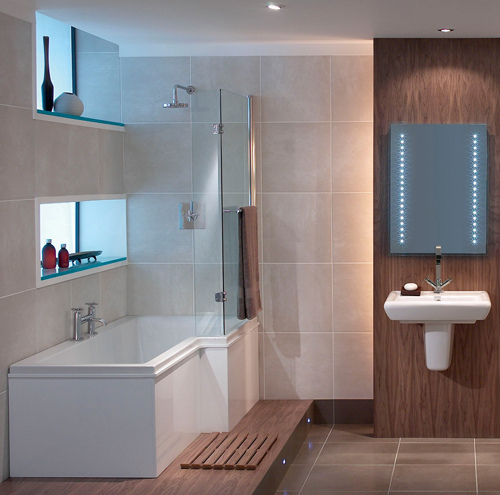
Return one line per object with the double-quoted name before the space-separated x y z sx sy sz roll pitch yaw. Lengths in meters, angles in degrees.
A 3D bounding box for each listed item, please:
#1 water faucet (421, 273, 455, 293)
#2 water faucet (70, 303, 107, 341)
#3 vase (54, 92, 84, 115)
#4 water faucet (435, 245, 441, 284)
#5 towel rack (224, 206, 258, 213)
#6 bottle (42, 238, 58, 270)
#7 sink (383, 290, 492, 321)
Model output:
"water faucet" 1.281 0.249 3.297 0.221 0.171 0.096 0 0 -6
"water faucet" -1.075 0.500 3.211 0.165 0.215 0.294 0 1 8
"vase" -1.212 -0.953 3.225 0.173 0.162 0.185 0 1 -5
"water faucet" 1.288 0.108 3.310 0.051 0.265 0.095 5 2 21
"towel rack" -0.072 -0.259 3.258 0.013 0.050 0.277 7 7 25
"bottle" -1.284 0.041 3.141 0.085 0.191 0.161 5 2 18
"sink" 1.228 0.375 3.179 0.640 0.204 0.527 6 2 19
